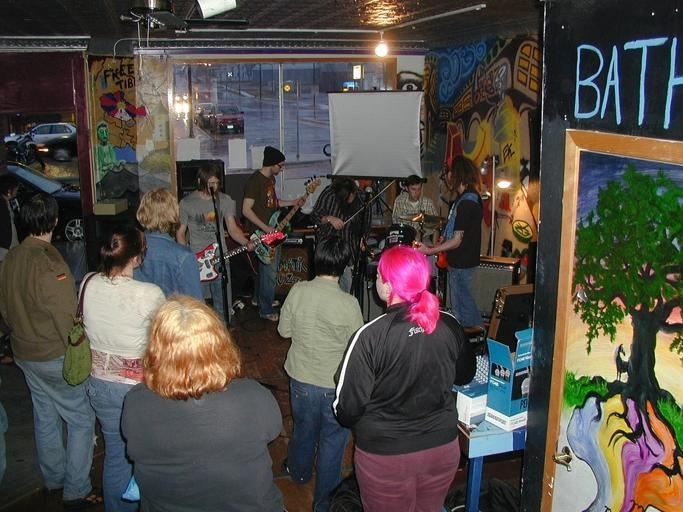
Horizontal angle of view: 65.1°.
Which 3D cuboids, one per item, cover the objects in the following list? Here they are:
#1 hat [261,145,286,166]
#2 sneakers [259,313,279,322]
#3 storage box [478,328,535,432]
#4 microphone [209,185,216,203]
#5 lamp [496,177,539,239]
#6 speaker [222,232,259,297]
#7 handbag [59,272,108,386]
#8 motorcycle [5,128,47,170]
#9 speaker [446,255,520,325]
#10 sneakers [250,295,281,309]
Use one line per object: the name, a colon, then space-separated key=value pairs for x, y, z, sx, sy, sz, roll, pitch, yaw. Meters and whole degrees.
hat: x=-0.858 y=-1.278 z=6.667 sx=0.267 sy=0.226 sz=0.209 roll=-19 pitch=31 yaw=-2
sneakers: x=-0.959 y=0.805 z=7.051 sx=0.259 sy=0.124 sz=0.131 roll=-1 pitch=8 yaw=6
storage box: x=1.002 y=0.716 z=3.172 sx=0.310 sy=0.631 sz=0.211 roll=8 pitch=10 yaw=38
microphone: x=-1.274 y=-0.606 z=5.234 sx=0.044 sy=0.173 sz=0.113 roll=-5 pitch=-12 yaw=-1
lamp: x=2.295 y=-0.516 z=6.758 sx=0.211 sy=0.976 sz=0.644 roll=-6 pitch=3 yaw=42
speaker: x=-1.265 y=0.067 z=6.565 sx=0.113 sy=0.949 sz=0.344 roll=13 pitch=47 yaw=40
handbag: x=-1.640 y=0.459 z=3.351 sx=0.231 sy=0.729 sz=0.181 roll=1 pitch=8 yaw=-6
motorcycle: x=-4.827 y=-1.647 z=8.057 sx=0.345 sy=0.589 sz=0.220 roll=-22 pitch=27 yaw=-15
speaker: x=1.482 y=0.333 z=5.609 sx=0.682 sy=0.855 sz=0.309 roll=4 pitch=9 yaw=26
sneakers: x=-1.084 y=0.649 z=7.565 sx=0.457 sy=0.208 sz=0.165 roll=-1 pitch=11 yaw=-3
